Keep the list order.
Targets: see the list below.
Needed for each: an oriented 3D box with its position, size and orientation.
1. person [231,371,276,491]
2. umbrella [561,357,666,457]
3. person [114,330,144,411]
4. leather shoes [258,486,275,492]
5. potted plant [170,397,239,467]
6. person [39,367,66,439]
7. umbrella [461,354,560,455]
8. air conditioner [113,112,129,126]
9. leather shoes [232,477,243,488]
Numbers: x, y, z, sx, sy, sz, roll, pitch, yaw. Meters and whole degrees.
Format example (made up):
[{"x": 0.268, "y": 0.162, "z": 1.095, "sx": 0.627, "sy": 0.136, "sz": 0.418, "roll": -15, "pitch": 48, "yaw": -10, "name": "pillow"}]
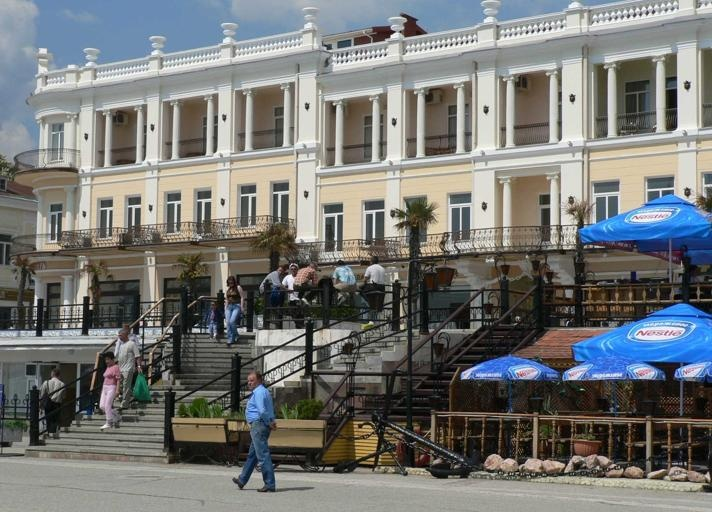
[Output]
[{"x": -2.741, "y": 4.894, "z": 43.167, "sx": 1.078, "sy": 3.254, "sz": 1.008, "roll": -1, "pitch": -5, "yaw": -4, "name": "person"}, {"x": 7.796, "y": 4.679, "z": 47.503, "sx": 2.506, "sy": 3.000, "sz": 2.620, "roll": 0, "pitch": -3, "yaw": -33, "name": "umbrella"}, {"x": -7.426, "y": 3.642, "z": 50.640, "sx": 0.928, "sy": 2.466, "sz": 0.724, "roll": 2, "pitch": 4, "yaw": 39, "name": "person"}, {"x": -2.407, "y": 6.410, "z": 42.635, "sx": 0.428, "sy": 0.183, "sz": 0.173, "roll": 4, "pitch": -3, "yaw": 9, "name": "leather shoes"}, {"x": -4.563, "y": 5.422, "z": 47.864, "sx": 2.442, "sy": 2.027, "sz": 0.870, "roll": -6, "pitch": -7, "yaw": 38, "name": "potted plant"}, {"x": -10.267, "y": 5.034, "z": 53.084, "sx": 0.846, "sy": 2.470, "sz": 0.641, "roll": -5, "pitch": -4, "yaw": -11, "name": "person"}, {"x": 4.692, "y": 4.637, "z": 47.763, "sx": 2.486, "sy": 1.680, "sz": 2.635, "roll": 3, "pitch": -7, "yaw": -6, "name": "umbrella"}, {"x": -12.009, "y": -6.913, "z": 80.290, "sx": 0.583, "sy": 0.796, "sz": 1.139, "roll": -3, "pitch": -7, "yaw": 20, "name": "air conditioner"}, {"x": -3.222, "y": 6.289, "z": 43.110, "sx": 0.152, "sy": 0.331, "sz": 0.109, "roll": -40, "pitch": -17, "yaw": 19, "name": "leather shoes"}]
